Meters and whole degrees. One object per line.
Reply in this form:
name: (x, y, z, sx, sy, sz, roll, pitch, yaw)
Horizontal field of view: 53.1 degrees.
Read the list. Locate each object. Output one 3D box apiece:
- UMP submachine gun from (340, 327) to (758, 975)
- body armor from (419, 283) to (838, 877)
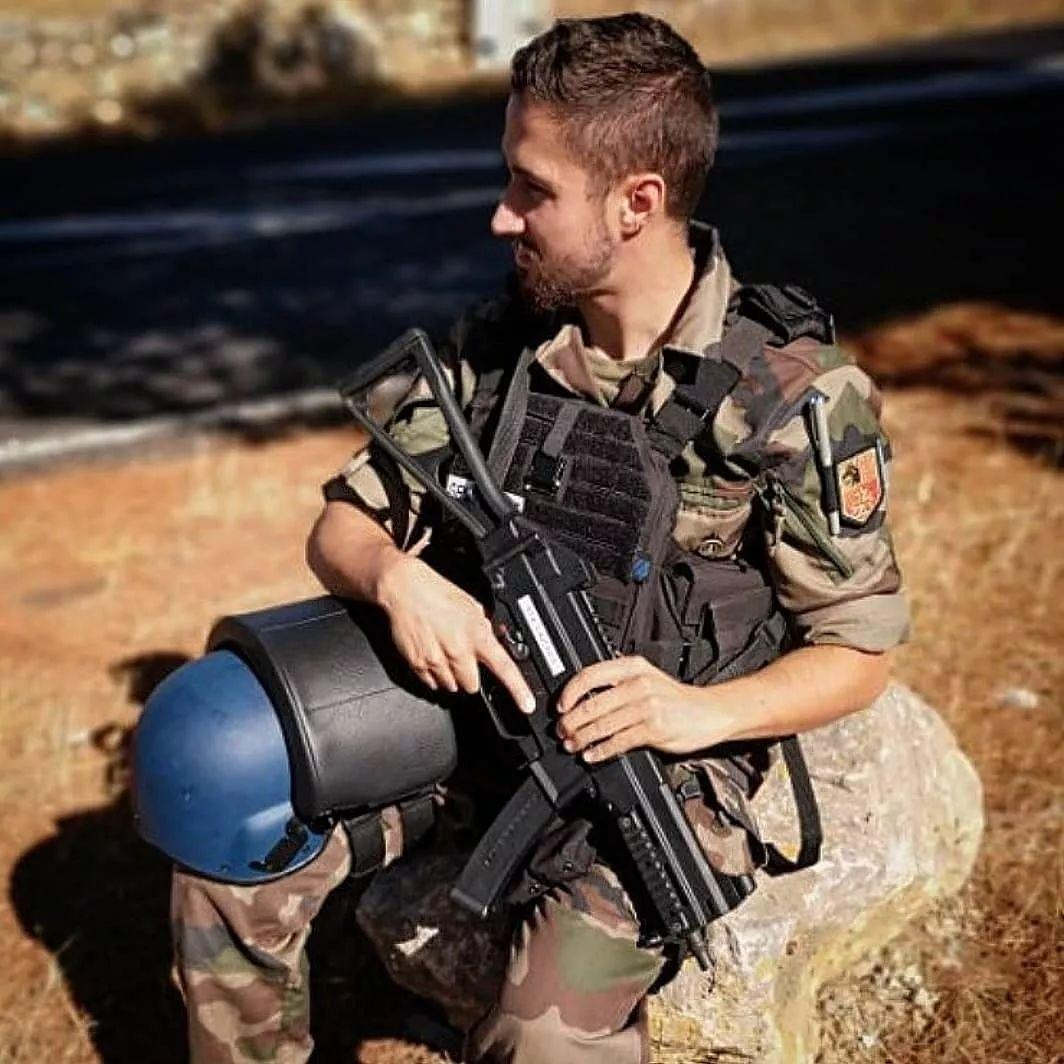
UMP submachine gun: (-0.055, 0.173, 1.965, 0.425, 1.081, 0.770, -18, 18, -28)
body armor: (0.375, 0.058, 2.140, 0.830, 1.067, 0.467, -20, -15, 35)
